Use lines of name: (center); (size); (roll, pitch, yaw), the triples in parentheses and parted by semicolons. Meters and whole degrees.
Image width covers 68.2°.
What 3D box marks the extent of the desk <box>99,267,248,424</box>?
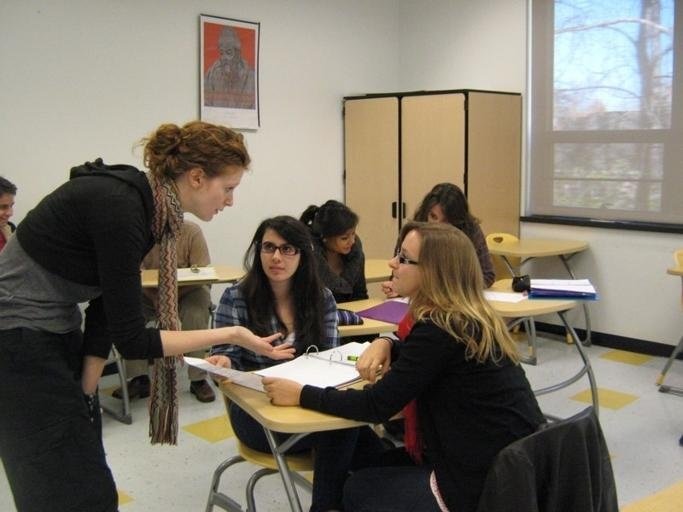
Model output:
desk: (-1.204, 0.377, 3.795); (1.273, 1.178, 0.990); (-6, 10, -41)

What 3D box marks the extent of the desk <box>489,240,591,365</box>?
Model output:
desk: (1.831, 0.326, 4.679); (0.828, 1.141, 0.869); (-9, 7, 1)

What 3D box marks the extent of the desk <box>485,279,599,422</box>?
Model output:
desk: (1.230, 0.632, 3.078); (0.666, 0.684, 0.649); (-16, -7, 30)

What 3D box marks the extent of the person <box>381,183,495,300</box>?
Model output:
person: (0.684, -0.120, 3.591); (0.758, 0.767, 0.617); (-1, 21, 7)

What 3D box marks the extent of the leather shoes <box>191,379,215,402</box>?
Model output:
leather shoes: (-1.026, 0.971, 3.705); (0.092, 0.099, 0.247); (-3, 5, -34)
